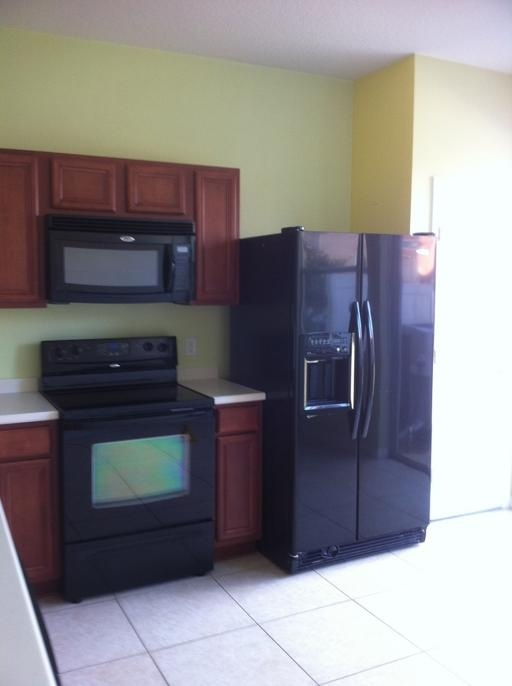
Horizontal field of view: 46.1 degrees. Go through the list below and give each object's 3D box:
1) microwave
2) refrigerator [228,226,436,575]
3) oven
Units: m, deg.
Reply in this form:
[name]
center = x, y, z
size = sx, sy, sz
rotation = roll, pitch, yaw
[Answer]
[microwave]
center = -0.599, -0.405, 2.789
size = 0.678, 0.414, 0.296
rotation = -2, 29, -21
[refrigerator]
center = 0.439, 0.271, 2.912
size = 0.921, 1.577, 0.459
rotation = 0, 4, -11
[oven]
center = -0.570, 0.655, 2.770
size = 0.613, 0.830, 0.539
rotation = -3, 7, -23
